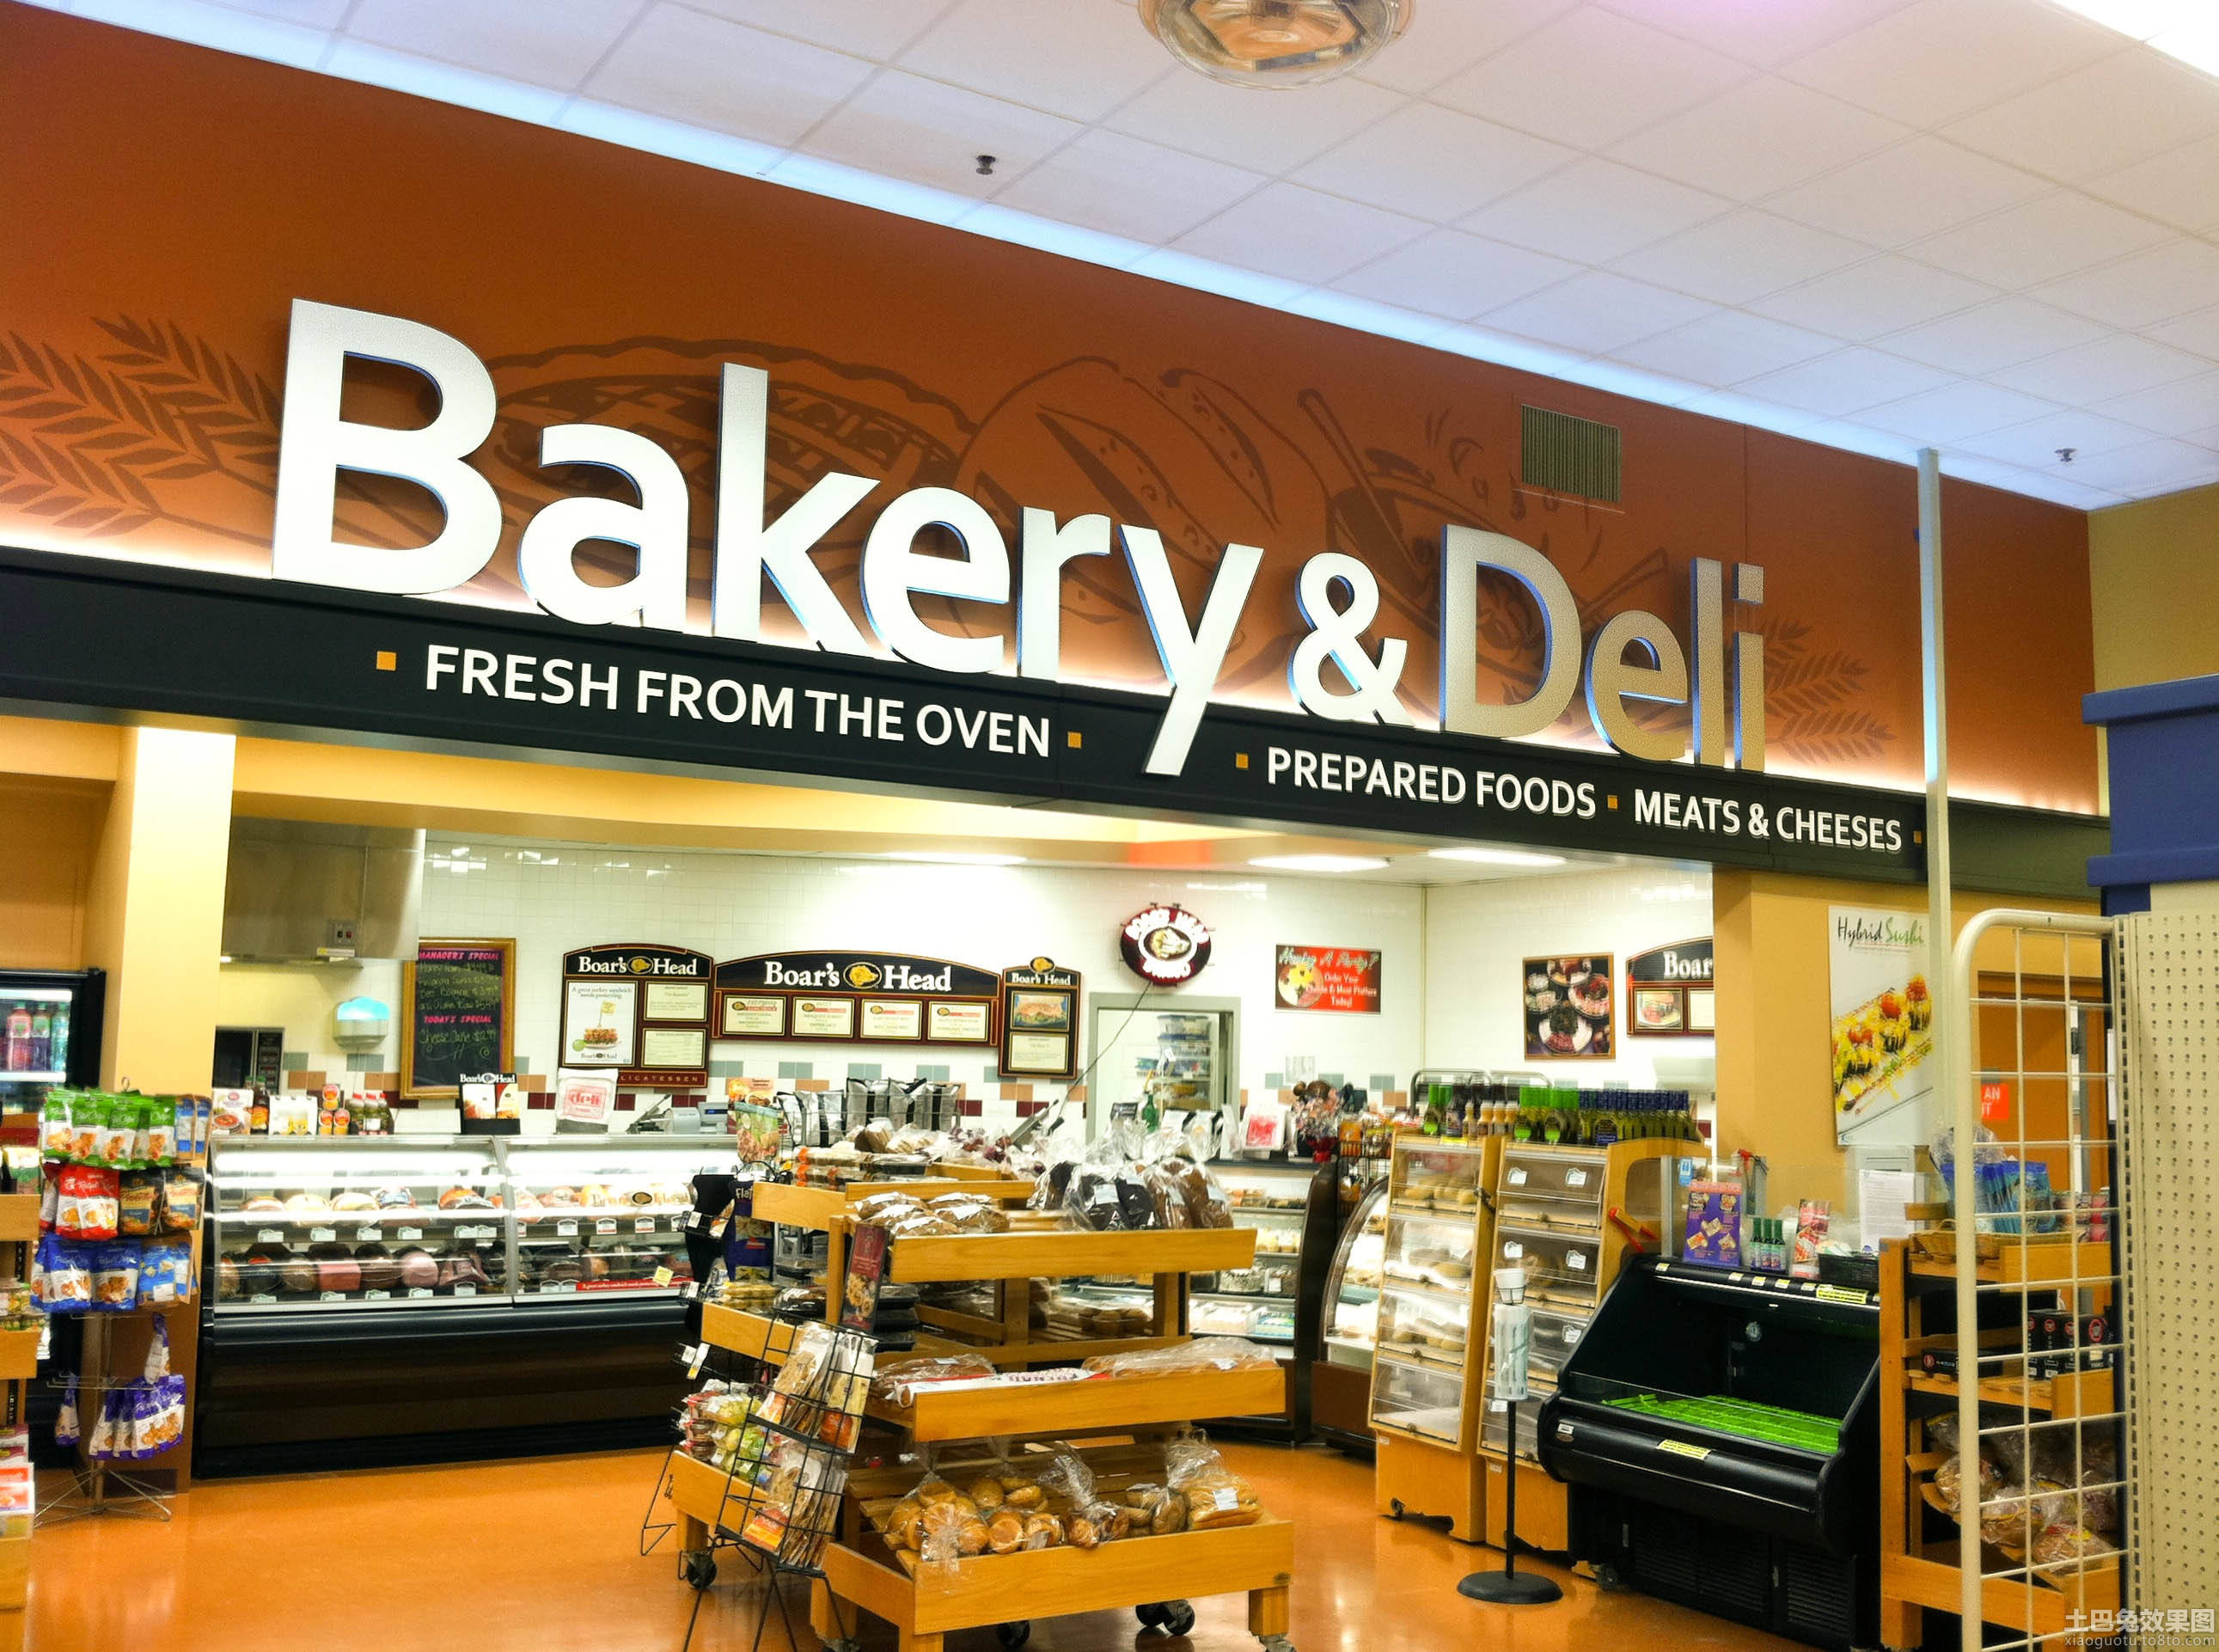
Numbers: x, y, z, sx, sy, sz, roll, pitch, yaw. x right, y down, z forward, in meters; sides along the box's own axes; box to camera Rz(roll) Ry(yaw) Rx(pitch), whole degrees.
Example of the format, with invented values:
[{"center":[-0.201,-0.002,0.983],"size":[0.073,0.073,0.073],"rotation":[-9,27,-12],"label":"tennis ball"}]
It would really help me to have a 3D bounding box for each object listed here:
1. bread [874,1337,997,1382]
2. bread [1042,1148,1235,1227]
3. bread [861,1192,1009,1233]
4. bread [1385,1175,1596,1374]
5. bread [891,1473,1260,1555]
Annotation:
[{"center":[-0.559,1.745,5.354],"size":[0.268,0.073,0.191],"rotation":[3,-5,-19],"label":"bread"},{"center":[0.092,1.278,5.771],"size":[0.650,0.227,0.274],"rotation":[1,-6,-2],"label":"bread"},{"center":[-0.557,1.253,5.383],"size":[0.477,0.107,0.198],"rotation":[3,-7,-23],"label":"bread"},{"center":[1.611,1.891,6.947],"size":[0.373,0.852,0.902],"rotation":[10,-12,-28],"label":"bread"},{"center":[-0.160,2.156,5.304],"size":[1.141,0.185,0.396],"rotation":[3,-7,-22],"label":"bread"}]
